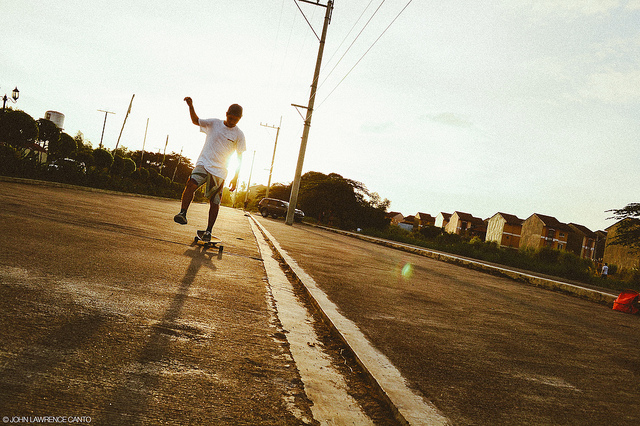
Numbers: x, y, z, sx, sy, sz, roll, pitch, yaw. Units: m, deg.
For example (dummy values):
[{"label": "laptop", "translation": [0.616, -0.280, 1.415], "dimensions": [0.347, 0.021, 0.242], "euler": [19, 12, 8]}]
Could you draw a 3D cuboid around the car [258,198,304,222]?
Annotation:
[{"label": "car", "translation": [-4.337, -0.327, 43.482], "dimensions": [1.568, 2.345, 6.621], "euler": [9, 1, -37]}]

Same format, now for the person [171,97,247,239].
[{"label": "person", "translation": [-1.867, -0.700, 6.943], "dimensions": [1.091, 2.484, 0.885], "euler": [9, -1, -20]}]
